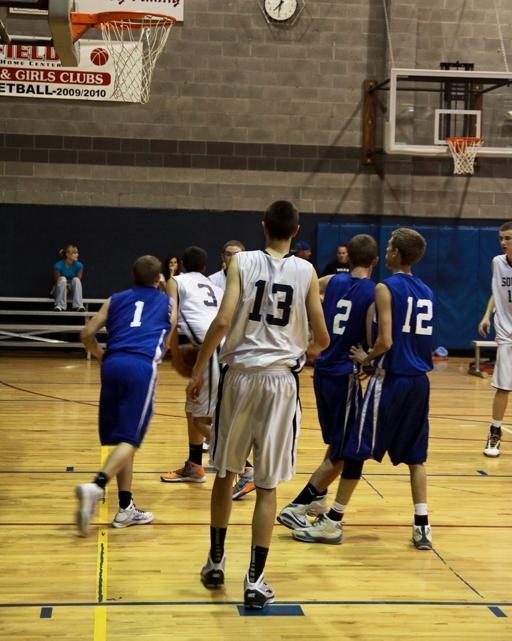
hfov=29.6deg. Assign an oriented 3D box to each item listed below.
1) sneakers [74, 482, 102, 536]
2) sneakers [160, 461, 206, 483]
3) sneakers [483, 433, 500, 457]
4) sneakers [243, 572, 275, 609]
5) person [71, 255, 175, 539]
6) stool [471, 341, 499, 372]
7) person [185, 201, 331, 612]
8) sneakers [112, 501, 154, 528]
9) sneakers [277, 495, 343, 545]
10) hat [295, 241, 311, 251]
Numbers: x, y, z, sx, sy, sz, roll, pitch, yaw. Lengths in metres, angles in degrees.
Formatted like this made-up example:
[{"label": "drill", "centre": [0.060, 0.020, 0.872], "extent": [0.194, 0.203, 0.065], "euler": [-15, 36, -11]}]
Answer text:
[{"label": "sneakers", "centre": [-0.916, 0.968, 5.159], "extent": [0.107, 0.364, 0.142], "euler": [0, -7, 29]}, {"label": "sneakers", "centre": [-0.539, 1.083, 6.943], "extent": [0.351, 0.196, 0.135], "euler": [3, -6, 1]}, {"label": "sneakers", "centre": [1.932, 1.006, 7.918], "extent": [0.127, 0.187, 0.267], "euler": [2, 6, 13]}, {"label": "sneakers", "centre": [0.008, 1.389, 5.007], "extent": [0.080, 0.168, 0.229], "euler": [0, -2, 13]}, {"label": "person", "centre": [-0.808, 0.454, 5.793], "extent": [0.484, 1.643, 1.251], "euler": [2, 6, 9]}, {"label": "stool", "centre": [3.022, 0.478, 12.778], "extent": [0.475, 0.354, 0.325], "euler": [-1, -1, -2]}, {"label": "person", "centre": [0.010, 0.419, 5.042], "extent": [0.704, 2.060, 0.453], "euler": [1, 5, 2]}, {"label": "sneakers", "centre": [-0.757, 1.181, 6.049], "extent": [0.275, 0.201, 0.108], "euler": [-3, 8, -27]}, {"label": "sneakers", "centre": [0.278, 1.204, 5.873], "extent": [0.475, 0.251, 0.170], "euler": [11, 0, -8]}, {"label": "hat", "centre": [0.652, -1.005, 13.165], "extent": [0.204, 0.136, 0.312], "euler": [1, -5, 3]}]
